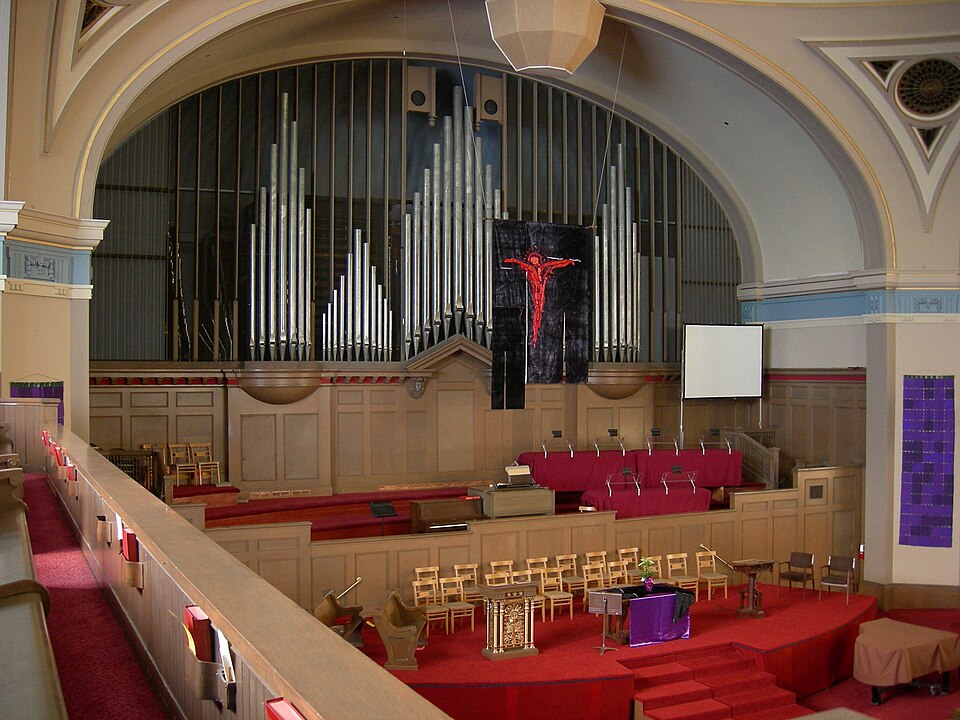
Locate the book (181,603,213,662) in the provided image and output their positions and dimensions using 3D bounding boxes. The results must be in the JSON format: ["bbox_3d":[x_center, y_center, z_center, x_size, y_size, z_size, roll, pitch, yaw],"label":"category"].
[{"bbox_3d":[-1.279,1.230,3.839,0.115,0.344,0.335,-3,-3,-24],"label":"book"}]

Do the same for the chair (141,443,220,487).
[{"bbox_3d":[-4.433,1.547,12.405,0.780,0.560,0.283,3,-7,-36],"label":"chair"}]

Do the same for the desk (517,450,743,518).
[{"bbox_3d":[2.697,1.930,13.959,3.974,1.034,2.672,-2,-1,-22],"label":"desk"}]

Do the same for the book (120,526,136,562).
[{"bbox_3d":[-1.988,1.031,4.782,0.079,0.254,0.253,-1,0,-27],"label":"book"}]
